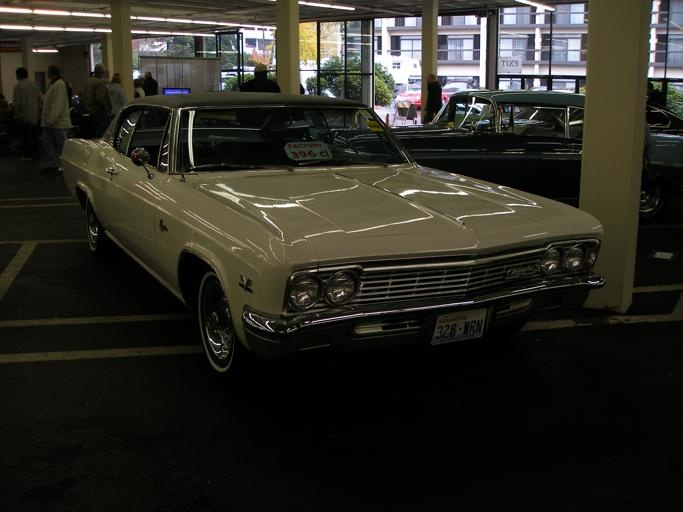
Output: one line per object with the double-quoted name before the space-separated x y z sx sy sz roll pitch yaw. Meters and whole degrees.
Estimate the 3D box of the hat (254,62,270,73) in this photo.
"hat" -1.762 -4.126 11.566 0.248 0.140 0.354 1 24 1
